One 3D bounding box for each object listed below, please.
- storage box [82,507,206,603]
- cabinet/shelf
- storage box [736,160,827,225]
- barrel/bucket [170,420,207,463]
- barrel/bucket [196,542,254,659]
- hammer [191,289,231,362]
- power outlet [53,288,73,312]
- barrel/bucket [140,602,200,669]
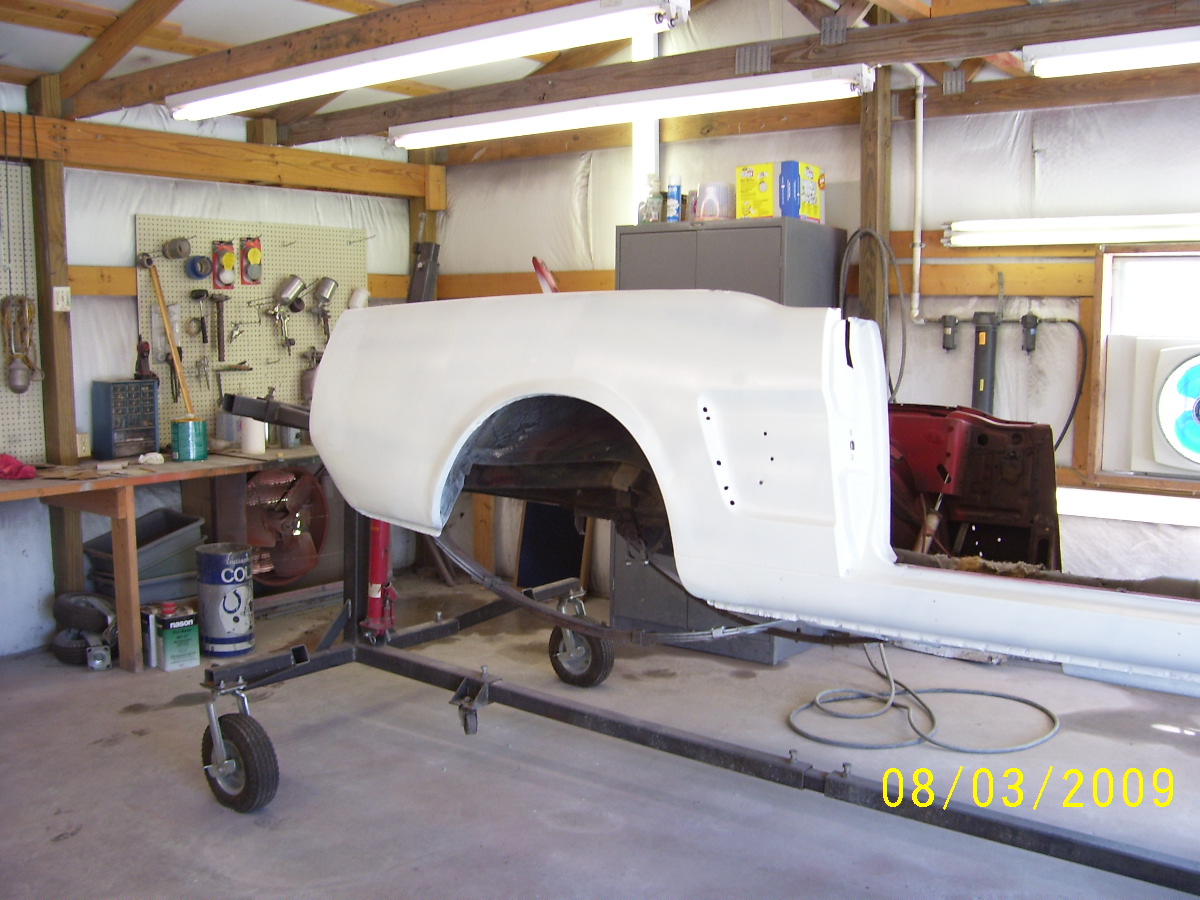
[{"bbox_3d":[-3.087,0.695,6.282,0.545,0.468,0.716,4,5,41],"label":"storage box"},{"bbox_3d":[0.818,-0.063,5.968,1.500,2.777,1.089,1,11,5],"label":"cabinet/shelf"},{"bbox_3d":[1.174,-1.558,5.909,0.490,0.308,0.490,2,5,24],"label":"storage box"},{"bbox_3d":[-2.719,-0.064,6.099,0.292,0.277,0.202,0,1,-8],"label":"barrel/bucket"},{"bbox_3d":[-2.386,0.958,5.858,0.325,0.707,0.205,-6,13,-28],"label":"barrel/bucket"},{"bbox_3d":[-2.774,-0.896,6.602,0.271,0.523,0.171,-6,13,-26],"label":"hammer"},{"bbox_3d":[-3.403,-0.953,5.818,0.040,0.156,0.113,4,12,19],"label":"power outlet"},{"bbox_3d":[-2.679,1.164,5.726,0.325,0.365,0.259,-4,12,-16],"label":"barrel/bucket"}]
